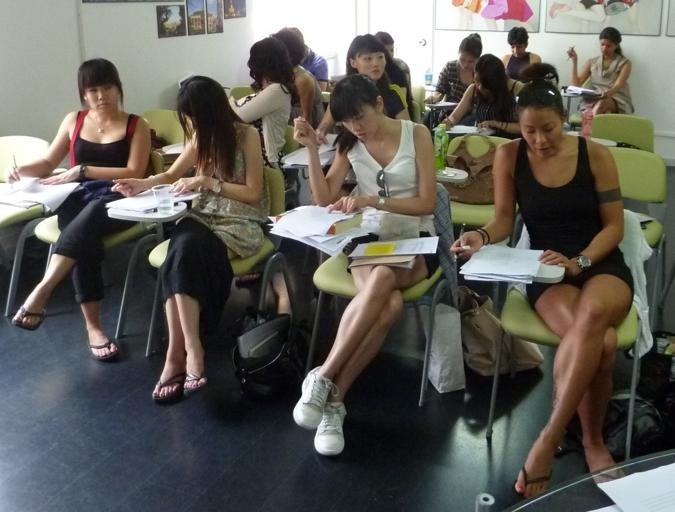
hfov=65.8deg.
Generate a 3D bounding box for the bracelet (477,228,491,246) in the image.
[{"bbox_3d":[0.634,-0.088,2.273,0.017,0.067,0.067,-13,9,-4],"label":"bracelet"}]

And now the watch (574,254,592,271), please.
[{"bbox_3d":[0.993,0.027,2.122,0.083,0.058,0.041,-9,18,-26],"label":"watch"}]

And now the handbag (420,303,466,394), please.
[{"bbox_3d":[0.510,0.446,2.485,0.157,0.447,0.356,-2,10,-1],"label":"handbag"}]

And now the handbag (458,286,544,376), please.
[{"bbox_3d":[0.832,0.354,2.668,0.368,0.573,0.416,-15,-16,19],"label":"handbag"}]

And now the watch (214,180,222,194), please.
[{"bbox_3d":[-0.630,-0.362,2.731,0.039,0.059,0.063,14,31,-4],"label":"watch"}]

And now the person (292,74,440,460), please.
[{"bbox_3d":[0.114,-0.026,2.375,0.679,1.531,0.876,3,16,11],"label":"person"}]

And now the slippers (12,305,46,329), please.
[{"bbox_3d":[-1.734,0.351,2.908,0.153,0.151,0.080,-4,17,-13],"label":"slippers"}]

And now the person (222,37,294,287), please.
[{"bbox_3d":[-0.533,-0.954,3.928,0.438,1.362,0.463,18,44,17],"label":"person"}]

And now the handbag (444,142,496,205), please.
[{"bbox_3d":[0.830,-0.507,3.246,0.419,0.494,0.256,0,6,19],"label":"handbag"}]

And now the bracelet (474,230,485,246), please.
[{"bbox_3d":[0.612,-0.079,2.249,0.013,0.059,0.056,-10,-13,-7],"label":"bracelet"}]

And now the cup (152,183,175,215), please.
[{"bbox_3d":[-0.839,-0.286,2.543,0.119,0.132,0.123,-10,15,3],"label":"cup"}]

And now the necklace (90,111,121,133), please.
[{"bbox_3d":[-1.430,-0.815,3.196,0.122,0.098,0.165,-1,2,-21],"label":"necklace"}]

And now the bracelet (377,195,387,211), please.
[{"bbox_3d":[0.201,-0.248,2.428,0.031,0.059,0.054,7,-4,2],"label":"bracelet"}]

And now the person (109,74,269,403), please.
[{"bbox_3d":[-0.659,-0.148,2.720,0.591,1.501,0.794,-2,16,-8],"label":"person"}]

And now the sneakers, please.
[{"bbox_3d":[-0.076,0.640,2.297,0.149,0.162,0.410,35,14,-15],"label":"sneakers"}]

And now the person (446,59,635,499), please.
[{"bbox_3d":[0.866,0.043,2.074,0.654,1.553,0.841,5,17,16],"label":"person"}]

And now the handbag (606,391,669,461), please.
[{"bbox_3d":[1.237,0.680,2.161,0.264,0.119,0.363,-3,20,12],"label":"handbag"}]

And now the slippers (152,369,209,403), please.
[{"bbox_3d":[-0.776,0.639,2.544,0.124,0.081,0.228,14,23,41],"label":"slippers"}]

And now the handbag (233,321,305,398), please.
[{"bbox_3d":[-0.351,0.500,2.561,0.254,0.318,0.332,13,24,32],"label":"handbag"}]
